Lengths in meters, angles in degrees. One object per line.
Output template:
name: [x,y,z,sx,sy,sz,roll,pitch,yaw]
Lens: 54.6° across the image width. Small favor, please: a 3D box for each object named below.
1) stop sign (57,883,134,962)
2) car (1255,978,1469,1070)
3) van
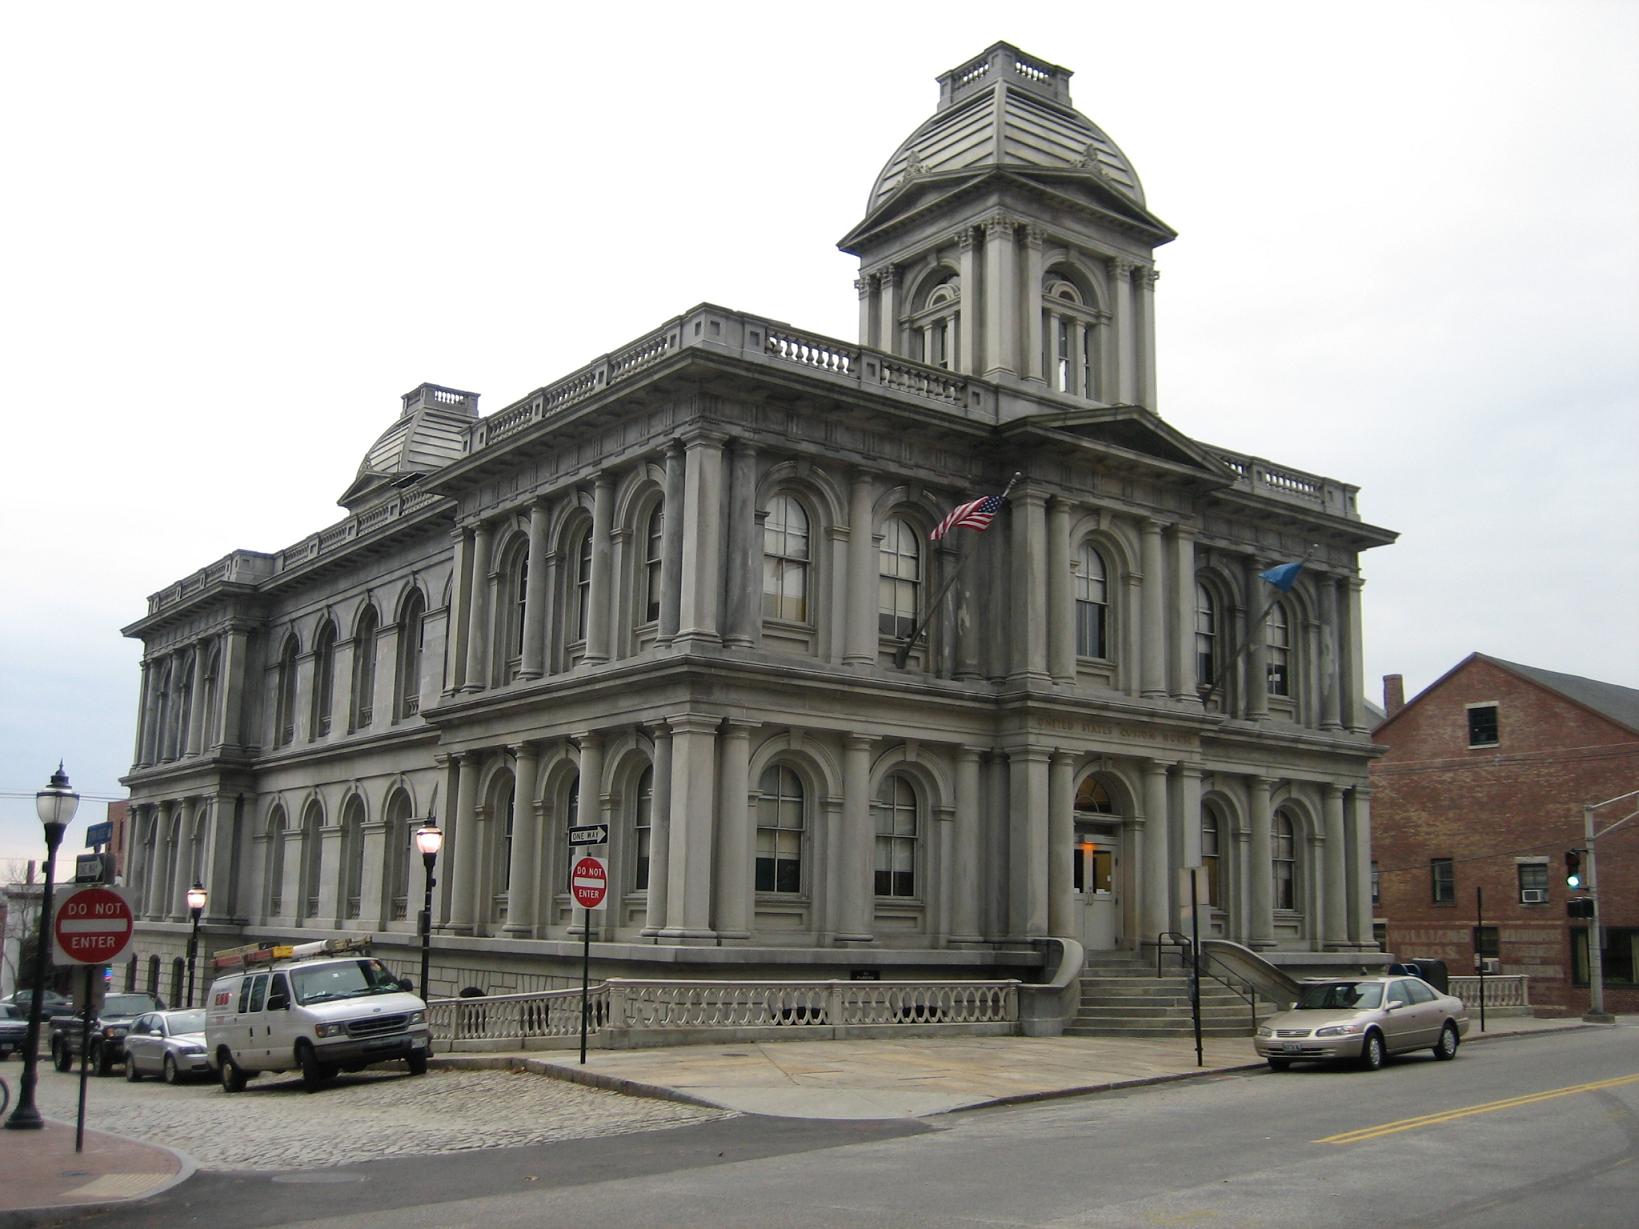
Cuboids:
stop sign: [-9.190,3.911,20.120,0.889,0.958,0.612,6,-18,-21]
car: [9.776,7.330,28.647,4.001,1.606,1.358,10,-20,-33]
van: [-9.272,7.390,28.639,2.306,1.564,3.919,12,-25,-37]
